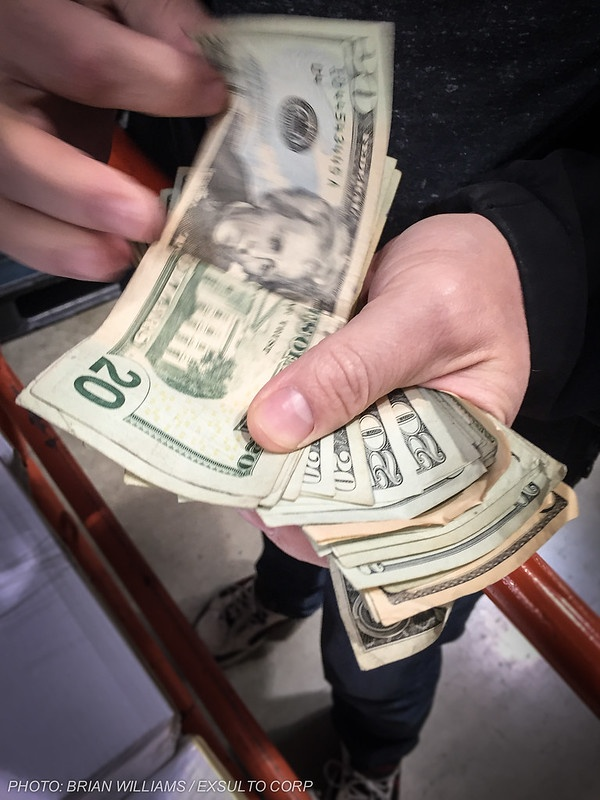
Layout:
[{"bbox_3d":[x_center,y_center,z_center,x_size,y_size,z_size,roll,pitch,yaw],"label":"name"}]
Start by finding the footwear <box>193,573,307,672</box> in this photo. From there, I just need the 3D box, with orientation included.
[{"bbox_3d":[-0.069,0.307,0.943,0.060,0.176,0.062,42,101,11],"label":"footwear"}]
